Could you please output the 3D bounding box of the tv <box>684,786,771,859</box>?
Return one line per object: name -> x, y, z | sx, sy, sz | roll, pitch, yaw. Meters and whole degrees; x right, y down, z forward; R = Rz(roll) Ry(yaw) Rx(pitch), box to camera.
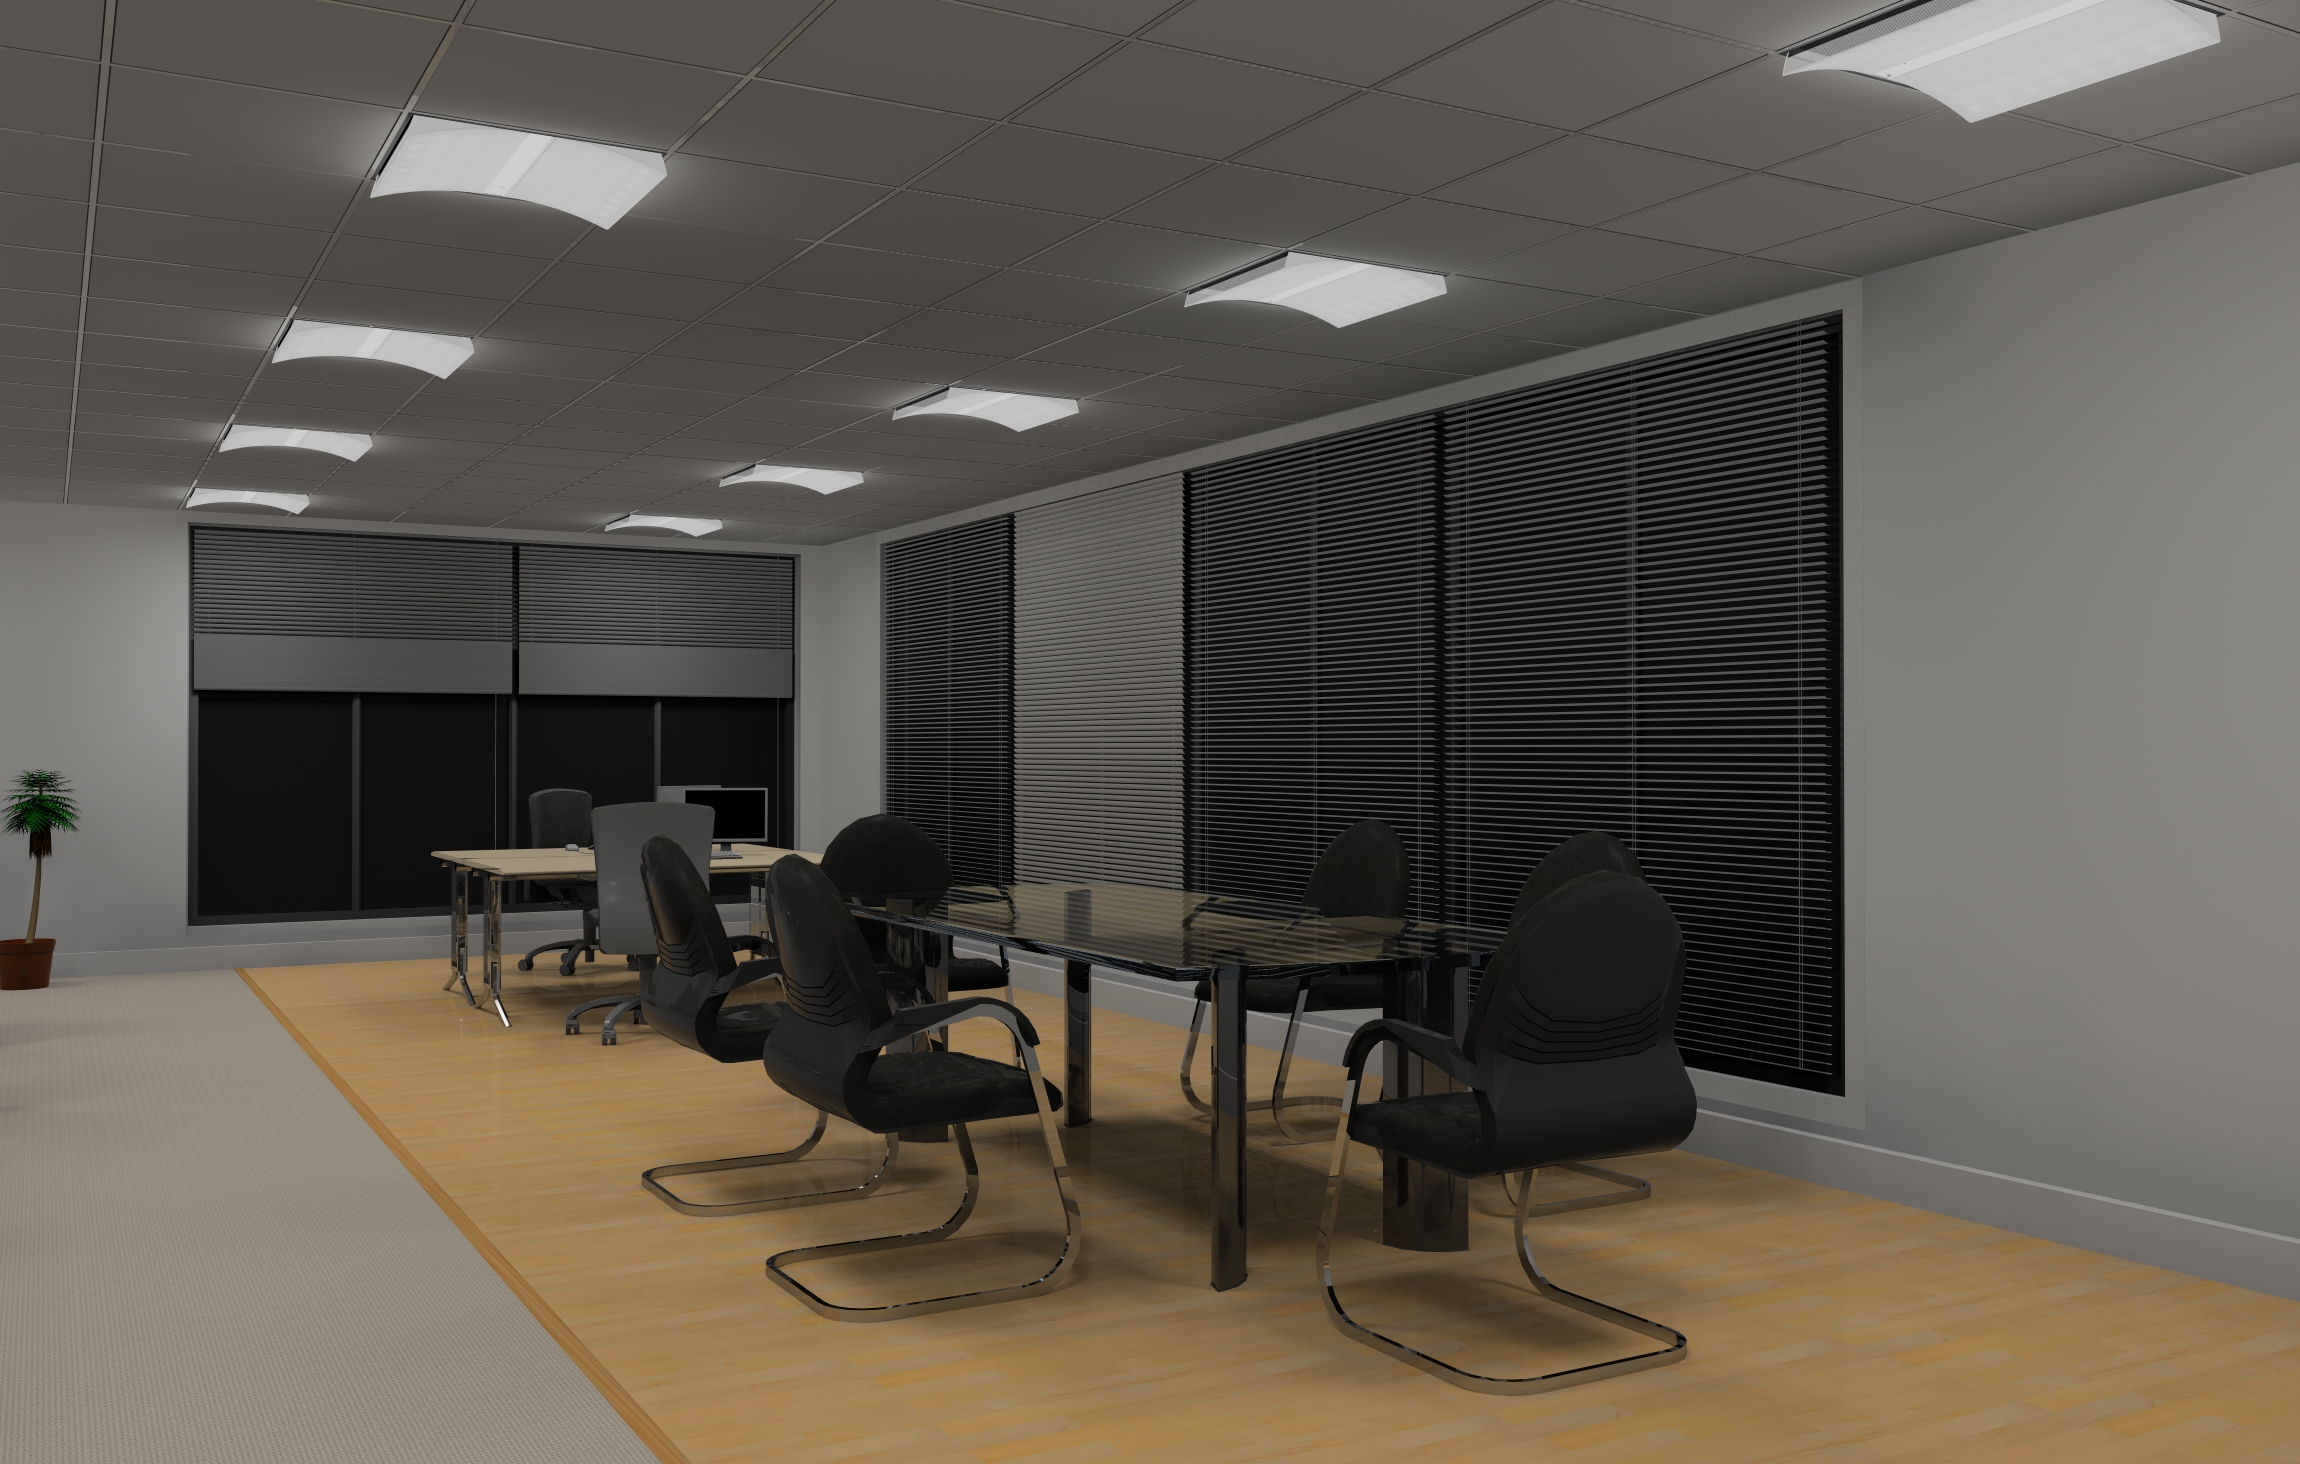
tv -> -2.894, 0.616, 9.429 | 0.638, 0.329, 0.156 | 0, -4, -16
